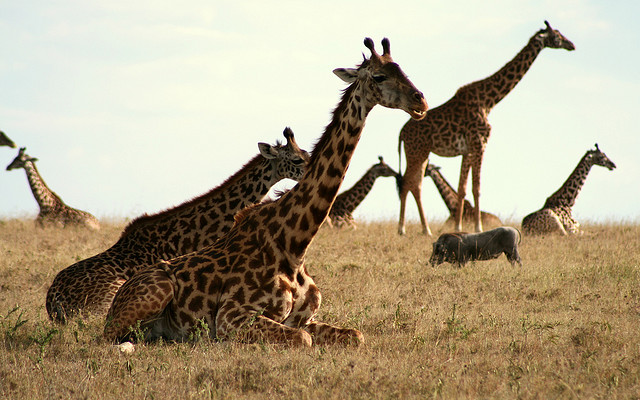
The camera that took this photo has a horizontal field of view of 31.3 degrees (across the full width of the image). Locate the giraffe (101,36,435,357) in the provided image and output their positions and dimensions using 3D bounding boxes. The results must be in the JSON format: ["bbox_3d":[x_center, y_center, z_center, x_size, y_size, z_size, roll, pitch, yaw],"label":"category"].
[{"bbox_3d":[-0.739,0.768,22.078,6.542,6.460,3.676,-7,-11,25],"label":"giraffe"}]
